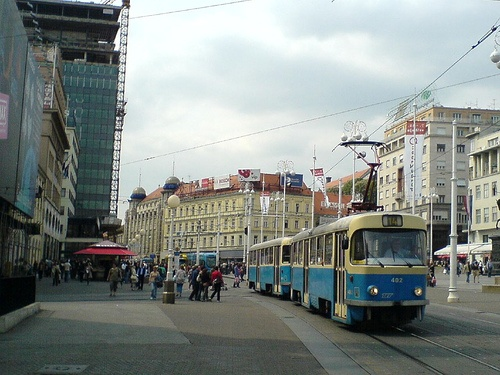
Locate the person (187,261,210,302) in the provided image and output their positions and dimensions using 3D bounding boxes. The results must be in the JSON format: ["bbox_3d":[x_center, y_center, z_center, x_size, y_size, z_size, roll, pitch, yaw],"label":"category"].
[{"bbox_3d":[-2.547,5.269,31.559,0.920,2.443,0.838,2,-5,-37],"label":"person"}]

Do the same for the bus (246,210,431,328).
[{"bbox_3d":[3.307,3.193,23.289,3.094,3.802,10.448,0,-1,-19],"label":"bus"}]

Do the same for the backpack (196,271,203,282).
[{"bbox_3d":[-2.793,4.925,31.462,0.161,0.478,0.344,18,7,35],"label":"backpack"}]
